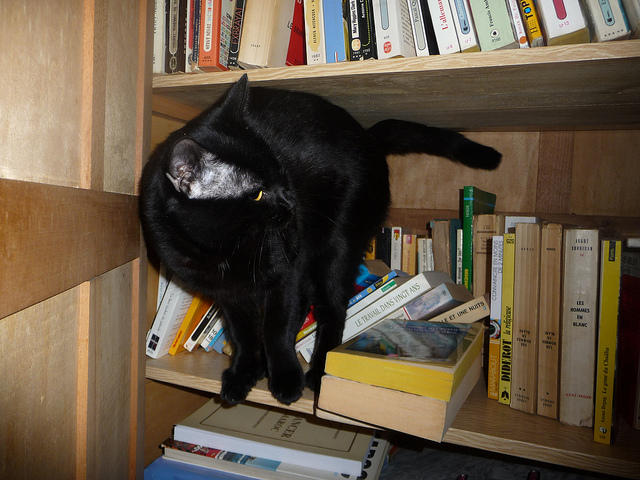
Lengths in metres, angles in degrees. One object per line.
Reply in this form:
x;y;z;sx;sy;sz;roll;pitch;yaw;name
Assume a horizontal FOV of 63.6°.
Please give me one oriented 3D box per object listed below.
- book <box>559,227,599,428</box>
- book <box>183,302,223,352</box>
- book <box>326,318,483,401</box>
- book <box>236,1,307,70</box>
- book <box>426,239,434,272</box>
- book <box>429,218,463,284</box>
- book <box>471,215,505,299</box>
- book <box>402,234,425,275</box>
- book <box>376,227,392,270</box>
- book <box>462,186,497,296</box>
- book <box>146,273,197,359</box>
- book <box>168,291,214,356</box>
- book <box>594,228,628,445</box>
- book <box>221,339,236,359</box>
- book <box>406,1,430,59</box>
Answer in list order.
0.512;0.177;1.027;0.071;0.392;0.024;3;7;24;book
-0.299;0.223;1.335;0.028;0.118;0.116;34;5;4;book
0.167;0.229;1.040;0.174;0.042;0.176;3;20;33;book
-0.120;-0.475;1.208;0.062;0.164;0.170;5;14;33;book
0.306;0.043;1.444;0.025;0.073;0.077;-4;7;9;book
0.377;0.020;1.473;0.082;0.152;0.153;1;3;38;book
0.403;0.038;1.234;0.061;0.179;0.182;1;7;12;book
0.268;0.025;1.526;0.047;0.120;0.125;5;20;21;book
0.183;0.024;1.483;0.037;0.111;0.112;0;-2;5;book
0.401;0.013;1.315;0.080;0.244;0.252;2;7;12;book
-0.371;0.207;1.317;0.038;0.194;0.196;26;20;-41;book
-0.334;0.209;1.330;0.035;0.152;0.151;29;8;7;book
0.605;0.185;1.074;0.056;0.399;0.221;4;7;31;book
-0.237;0.281;1.344;0.011;0.042;0.046;16;26;-52;book
0.214;-0.462;1.138;0.027;0.119;0.119;-8;22;5;book
